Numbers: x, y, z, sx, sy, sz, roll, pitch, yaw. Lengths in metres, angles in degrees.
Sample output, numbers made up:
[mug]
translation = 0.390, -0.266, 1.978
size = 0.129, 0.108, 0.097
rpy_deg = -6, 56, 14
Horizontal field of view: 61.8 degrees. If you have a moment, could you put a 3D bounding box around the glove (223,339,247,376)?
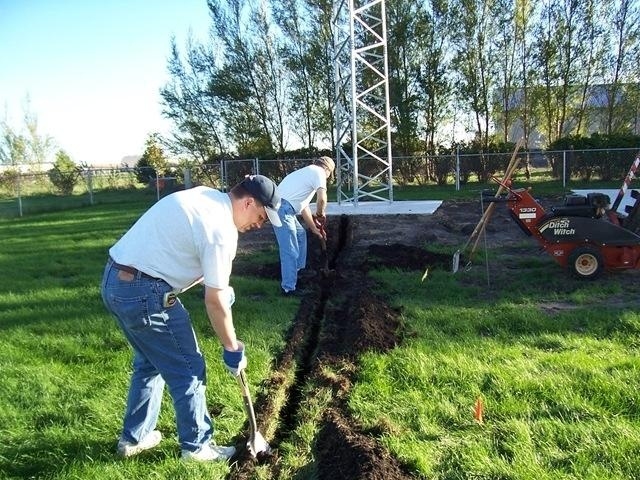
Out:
[glove]
translation = -0.773, 1.158, 5.126
size = 0.191, 0.329, 0.291
rpy_deg = -4, -3, -5

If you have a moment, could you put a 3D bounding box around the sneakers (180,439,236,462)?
[sneakers]
translation = -1.086, 2.056, 5.254
size = 0.543, 0.261, 0.189
rpy_deg = -1, 1, -29

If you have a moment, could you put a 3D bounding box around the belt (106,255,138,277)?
[belt]
translation = -1.750, 0.270, 4.761
size = 0.184, 0.052, 0.186
rpy_deg = 37, -3, -38
